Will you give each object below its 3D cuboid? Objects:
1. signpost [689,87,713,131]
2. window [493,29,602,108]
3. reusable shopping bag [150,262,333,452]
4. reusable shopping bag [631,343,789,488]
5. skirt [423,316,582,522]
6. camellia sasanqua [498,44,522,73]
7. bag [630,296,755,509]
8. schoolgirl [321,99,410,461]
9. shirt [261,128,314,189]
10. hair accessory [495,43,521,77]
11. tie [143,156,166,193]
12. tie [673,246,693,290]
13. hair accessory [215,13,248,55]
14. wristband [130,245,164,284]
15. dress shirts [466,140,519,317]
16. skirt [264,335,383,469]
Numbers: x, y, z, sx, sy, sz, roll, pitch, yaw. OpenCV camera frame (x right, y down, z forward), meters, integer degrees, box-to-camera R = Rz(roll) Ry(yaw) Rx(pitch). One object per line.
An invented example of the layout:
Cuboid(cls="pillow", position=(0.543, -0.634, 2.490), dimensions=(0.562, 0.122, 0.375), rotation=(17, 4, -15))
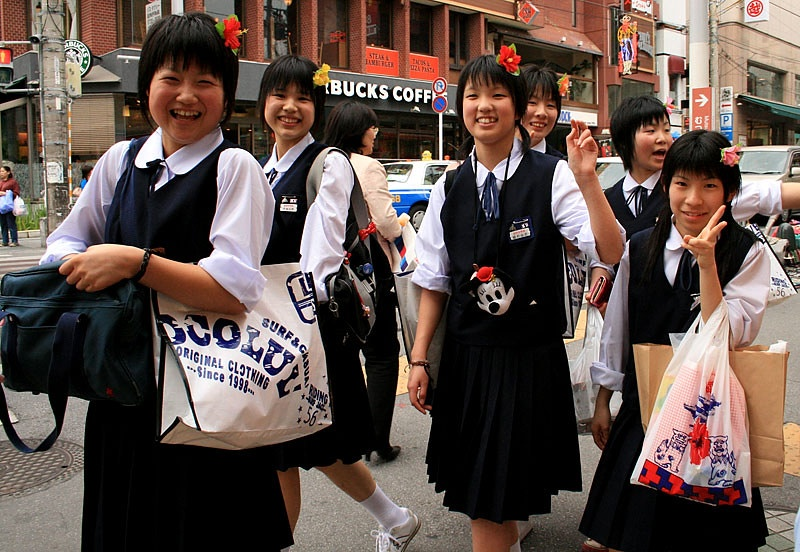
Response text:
Cuboid(cls="signpost", position=(5.806, -3.188, 13.066), dimensions=(0.462, 0.888, 0.086), rotation=(1, -2, 7))
Cuboid(cls="window", position=(7.040, -8.436, 27.889), dimensions=(2.097, 2.830, 5.183), rotation=(5, 15, 14))
Cuboid(cls="reusable shopping bag", position=(-0.572, 0.281, 2.338), dimensions=(0.254, 0.682, 0.644), rotation=(-25, -19, 40))
Cuboid(cls="reusable shopping bag", position=(1.233, 0.602, 2.965), dimensions=(0.682, 0.651, 0.251), rotation=(16, -9, -33))
Cuboid(cls="skirt", position=(0.468, 0.663, 2.970), dimensions=(0.683, 0.746, 0.386), rotation=(3, 10, 2))
Cuboid(cls="camellia sasanqua", position=(0.482, -0.960, 3.029), dimensions=(0.126, 0.117, 0.060), rotation=(-34, 30, -30))
Cuboid(cls="bag", position=(1.206, 0.489, 2.764), dimensions=(0.428, 0.816, 0.381), rotation=(11, -1, 9))
Cuboid(cls="schoolgirl", position=(-0.128, 0.105, 4.397), dimensions=(0.781, 2.385, 0.669), rotation=(-6, 11, -12))
Cuboid(cls="shirt", position=(-0.599, -0.559, 3.414), dimensions=(0.124, 0.236, 0.177), rotation=(-2, 23, -23))
Cuboid(cls="hair accessory", position=(0.478, -0.963, 3.041), dimensions=(0.133, 0.124, 0.064), rotation=(-40, 33, -28))
Cuboid(cls="tie", position=(-0.885, -0.373, 2.447), dimensions=(0.077, 0.108, 0.105), rotation=(1, -4, -8))
Cuboid(cls="tie", position=(1.261, -0.002, 2.974), dimensions=(0.069, 0.236, 0.028), rotation=(10, 44, 39))
Cuboid(cls="hair accessory", position=(-0.688, -0.922, 2.613), dimensions=(0.069, 0.152, 0.151), rotation=(-6, 19, 27))
Cuboid(cls="wristband", position=(-0.857, -0.039, 2.282), dimensions=(0.029, 0.105, 0.083), rotation=(29, 10, 33))
Cuboid(cls="dress shirts", position=(0.410, -0.185, 2.963), dimensions=(0.211, 0.696, 0.318), rotation=(4, 10, 5))
Cuboid(cls="skirt", position=(-0.420, 0.467, 3.381), dimensions=(0.494, 0.788, 0.657), rotation=(-6, 6, -14))
